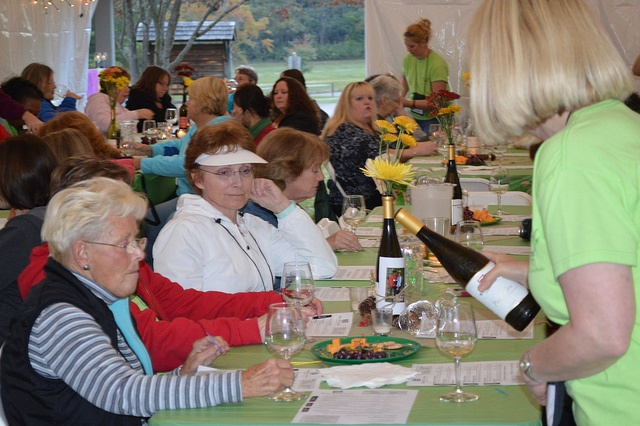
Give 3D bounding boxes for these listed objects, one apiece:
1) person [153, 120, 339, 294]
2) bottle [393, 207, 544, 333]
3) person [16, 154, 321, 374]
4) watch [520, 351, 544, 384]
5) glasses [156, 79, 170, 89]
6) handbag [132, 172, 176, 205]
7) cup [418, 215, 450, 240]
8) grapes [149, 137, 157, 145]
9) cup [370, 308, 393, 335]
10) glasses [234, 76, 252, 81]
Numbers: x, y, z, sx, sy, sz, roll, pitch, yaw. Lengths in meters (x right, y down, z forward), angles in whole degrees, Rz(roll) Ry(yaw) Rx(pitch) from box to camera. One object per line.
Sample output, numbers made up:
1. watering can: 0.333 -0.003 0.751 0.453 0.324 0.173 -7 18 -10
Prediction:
1. person: -0.445 0.000 2.922 0.996 1.200 0.935 0 5 29
2. bottle: 0.555 0.229 1.929 0.535 0.126 0.145 37 -1 34
3. person: -0.616 0.158 2.285 1.310 0.883 0.775 0 14 -2
4. watch: 0.560 0.409 1.310 0.030 0.062 0.075 -34 -35 11
5. glasses: -2.689 -2.199 8.381 0.169 0.077 0.127 -20 -1 30
6. handbag: -1.537 -0.243 4.530 0.138 0.143 0.420 -19 1 17
7. cup: 0.589 0.072 2.501 0.129 0.117 0.111 -3 7 -28
8. grapes: -2.140 -0.925 6.290 0.071 0.104 0.107 0 -9 -21
9. cup: 0.240 0.415 1.885 0.093 0.095 0.088 -1 5 0
10. glasses: -1.323 -2.331 8.516 0.150 0.070 0.198 0 4 21
